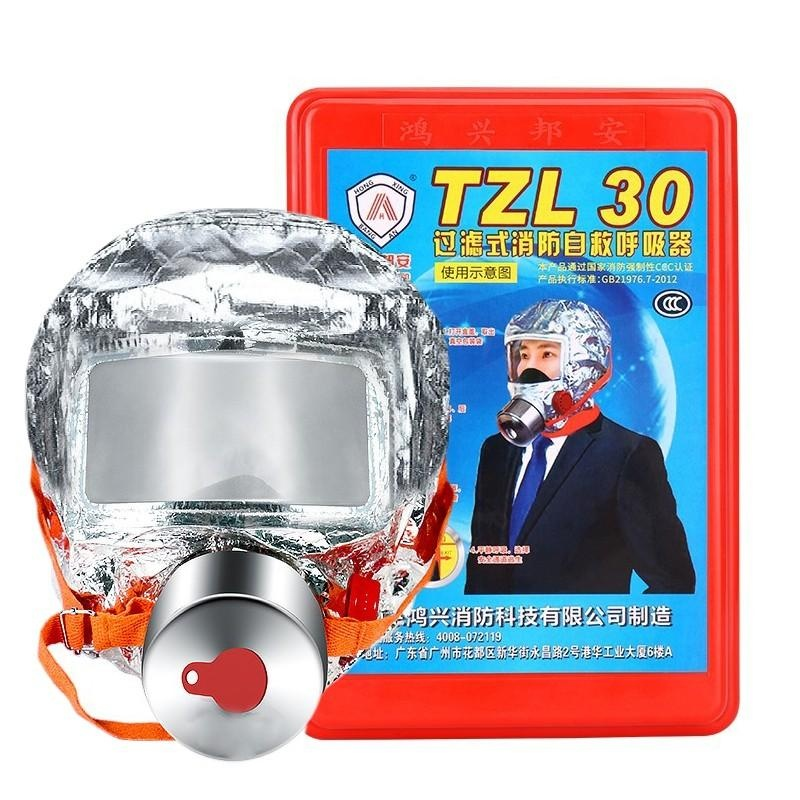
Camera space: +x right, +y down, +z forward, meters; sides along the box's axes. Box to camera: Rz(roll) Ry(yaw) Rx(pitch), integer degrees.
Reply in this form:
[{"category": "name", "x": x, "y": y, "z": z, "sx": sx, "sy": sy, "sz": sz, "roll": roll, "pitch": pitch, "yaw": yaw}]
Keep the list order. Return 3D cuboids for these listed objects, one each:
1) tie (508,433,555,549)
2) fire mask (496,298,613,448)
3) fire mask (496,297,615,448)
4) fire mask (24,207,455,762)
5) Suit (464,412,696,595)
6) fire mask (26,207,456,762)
[{"category": "tie", "x": 0.267, "y": 0.191, "z": 1.987, "sx": 0.058, "sy": 0.299, "sz": 0.040, "roll": 17, "pitch": -2, "yaw": 12}, {"category": "fire mask", "x": 0.327, "y": -0.064, "z": 2.056, "sx": 0.300, "sy": 0.300, "sz": 0.222, "roll": -8, "pitch": 6, "yaw": -40}, {"category": "fire mask", "x": 0.329, "y": -0.064, "z": 2.059, "sx": 0.298, "sy": 0.297, "sz": 0.223, "roll": -5, "pitch": 2, "yaw": -40}, {"category": "fire mask", "x": -0.295, "y": 0.141, "z": 1.645, "sx": 0.715, "sy": 0.908, "sz": 0.316, "roll": 5, "pitch": -37, "yaw": -6}, {"category": "Suit", "x": 0.372, "y": 0.257, "z": 2.111, "sx": 0.576, "sy": 0.475, "sz": 0.266, "roll": 1, "pitch": 2, "yaw": 39}, {"category": "fire mask", "x": -0.297, "y": 0.125, "z": 1.778, "sx": 0.677, "sy": 0.886, "sz": 0.316, "roll": 0, "pitch": -6, "yaw": -7}]
